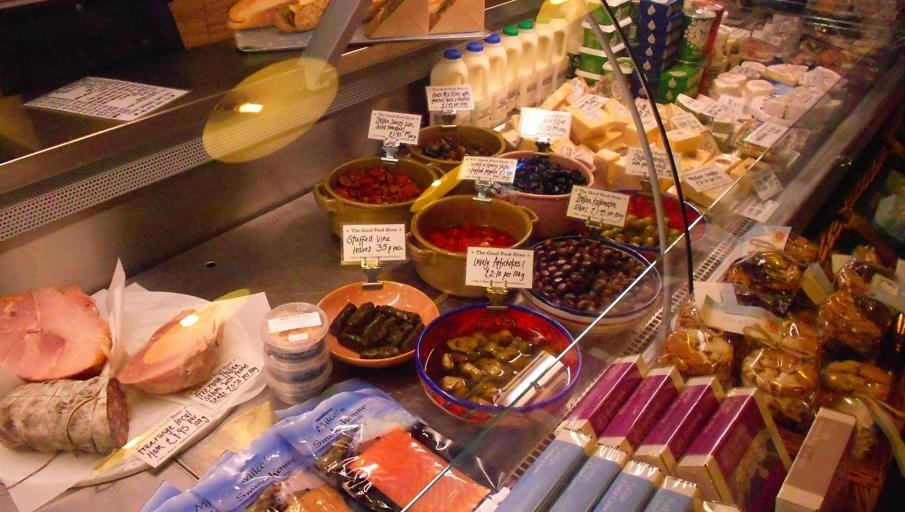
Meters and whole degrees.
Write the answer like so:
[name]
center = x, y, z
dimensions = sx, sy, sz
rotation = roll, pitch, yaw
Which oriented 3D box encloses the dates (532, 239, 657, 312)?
[dates]
center = 0.581, 0.087, 2.540
dimensions = 0.405, 0.149, 0.381
rotation = -9, 28, -16
